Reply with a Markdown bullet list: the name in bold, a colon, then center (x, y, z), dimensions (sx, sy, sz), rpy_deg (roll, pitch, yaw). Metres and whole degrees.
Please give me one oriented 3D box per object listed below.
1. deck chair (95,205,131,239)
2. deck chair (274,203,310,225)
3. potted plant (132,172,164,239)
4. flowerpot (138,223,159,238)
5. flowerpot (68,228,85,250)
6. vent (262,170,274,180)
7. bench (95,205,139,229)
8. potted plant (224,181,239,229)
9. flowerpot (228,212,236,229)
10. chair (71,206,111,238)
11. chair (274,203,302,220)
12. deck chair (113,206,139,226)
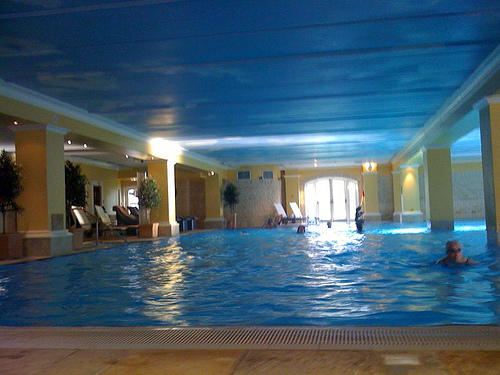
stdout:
- **deck chair**: center (-4.957, 1.303, 12.605), dimensions (1.307, 1.055, 0.850), rpy_deg (9, 2, -6)
- **deck chair**: center (2.387, 1.480, 19.574), dimensions (1.902, 1.024, 1.179), rpy_deg (-2, -4, 14)
- **potted plant**: center (-3.936, 0.742, 13.298), dimensions (1.093, 2.129, 0.939), rpy_deg (-3, -6, 14)
- **flowerpot**: center (-3.893, 1.613, 13.055), dimensions (0.615, 0.399, 0.575), rpy_deg (0, -2, -14)
- **flowerpot**: center (-5.012, 1.451, 9.889), dimensions (0.324, 0.522, 0.595), rpy_deg (-1, -3, -28)
- **vent**: center (1.078, -0.750, 20.341), dimensions (0.649, 0.483, 0.052), rpy_deg (2, 3, 5)
- **bench**: center (-4.933, 1.123, 12.617), dimensions (1.193, 0.567, 1.115), rpy_deg (0, -3, -2)
- **potted plant**: center (-1.079, 0.973, 19.866), dimensions (0.689, 2.696, 0.787), rpy_deg (0, -3, -45)
- **flowerpot**: center (-1.004, 1.888, 19.650), dimensions (0.449, 0.817, 0.272), rpy_deg (-2, -2, 0)
- **chair**: center (-5.714, 1.210, 11.880), dimensions (1.885, 1.166, 1.049), rpy_deg (8, 4, 38)
- **chair**: center (2.128, 1.345, 19.531), dimensions (1.128, 0.643, 1.015), rpy_deg (-1, -4, 20)
- **deck chair**: center (-5.590, 1.325, 15.652), dimensions (1.167, 0.634, 1.096), rpy_deg (1, -3, 7)
